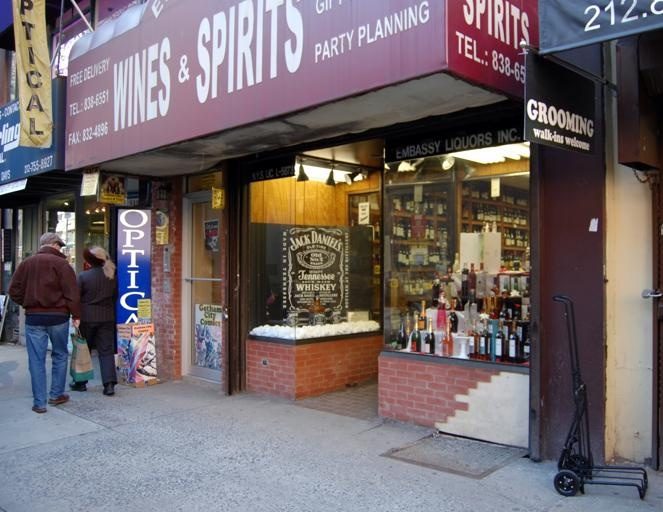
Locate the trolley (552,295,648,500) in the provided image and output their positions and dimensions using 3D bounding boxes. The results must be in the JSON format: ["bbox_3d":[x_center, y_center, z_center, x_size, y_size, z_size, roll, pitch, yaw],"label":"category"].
[{"bbox_3d":[2.401,1.222,5.233,0.766,1.711,0.790,1,2,31],"label":"trolley"}]

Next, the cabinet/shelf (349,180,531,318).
[{"bbox_3d":[1.351,-0.045,7.091,1.762,1.949,0.598,1,3,39],"label":"cabinet/shelf"}]

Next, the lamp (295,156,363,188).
[{"bbox_3d":[-0.038,-1.268,8.810,0.211,0.396,0.755,-3,2,38],"label":"lamp"}]

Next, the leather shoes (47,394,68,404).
[{"bbox_3d":[-3.610,1.913,7.730,0.104,0.117,0.228,7,10,41],"label":"leather shoes"}]

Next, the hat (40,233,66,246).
[{"bbox_3d":[-3.748,-0.221,7.901,0.219,0.202,0.317,0,4,41],"label":"hat"}]

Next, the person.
[{"bbox_3d":[-3.730,0.841,7.643,0.827,2.253,0.606,-1,2,-26],"label":"person"}]
